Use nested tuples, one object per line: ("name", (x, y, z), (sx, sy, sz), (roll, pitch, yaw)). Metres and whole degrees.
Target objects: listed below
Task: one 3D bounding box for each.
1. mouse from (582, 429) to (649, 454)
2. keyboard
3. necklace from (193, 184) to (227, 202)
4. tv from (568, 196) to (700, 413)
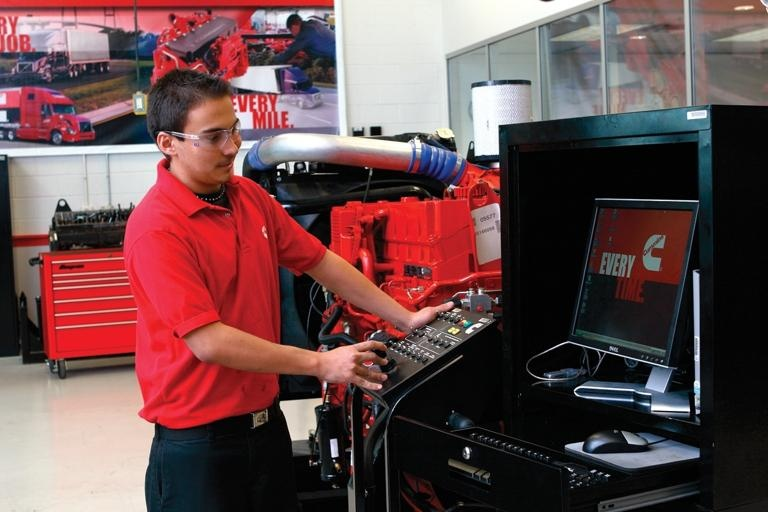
("mouse", (0.592, 0.468, 1.575), (0.124, 0.038, 0.069), (-4, 6, 1))
("keyboard", (0.358, 0.522, 1.548), (0.388, 0.102, 0.162), (3, 7, 44))
("necklace", (-0.549, -0.200, 1.951), (0.081, 0.038, 0.059), (-4, 3, -37))
("tv", (0.663, 0.110, 1.680), (0.358, 0.531, 0.362), (2, 7, 32))
